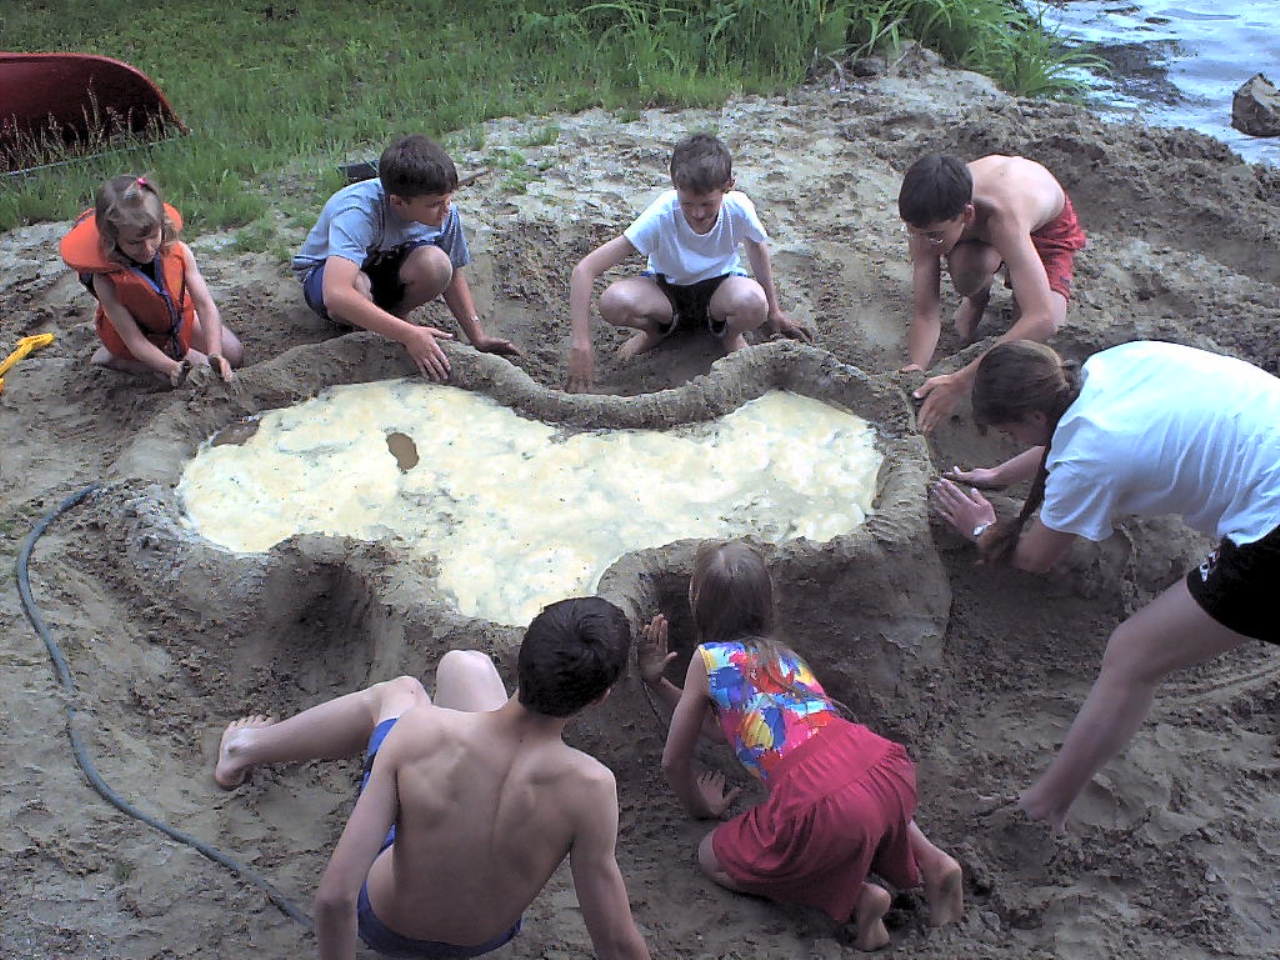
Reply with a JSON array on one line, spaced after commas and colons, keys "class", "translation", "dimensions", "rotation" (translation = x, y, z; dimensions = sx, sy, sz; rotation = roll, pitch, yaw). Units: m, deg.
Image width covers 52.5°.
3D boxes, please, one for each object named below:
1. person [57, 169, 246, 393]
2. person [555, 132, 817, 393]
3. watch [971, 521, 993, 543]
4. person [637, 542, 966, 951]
[{"class": "person", "translation": [-2.205, -0.824, 5.916], "dimensions": [0.693, 0.984, 0.818], "rotation": [-24, 55, -29]}, {"class": "person", "translation": [0.235, -1.129, 6.504], "dimensions": [1.312, 1.174, 0.821], "rotation": [-12, 35, -10]}, {"class": "watch", "translation": [1.396, 0.206, 5.295], "dimensions": [0.021, 0.073, 0.081], "rotation": [42, 40, -15]}, {"class": "person", "translation": [0.514, 0.845, 4.866], "dimensions": [0.890, 1.055, 1.490], "rotation": [-20, 44, -29]}]
